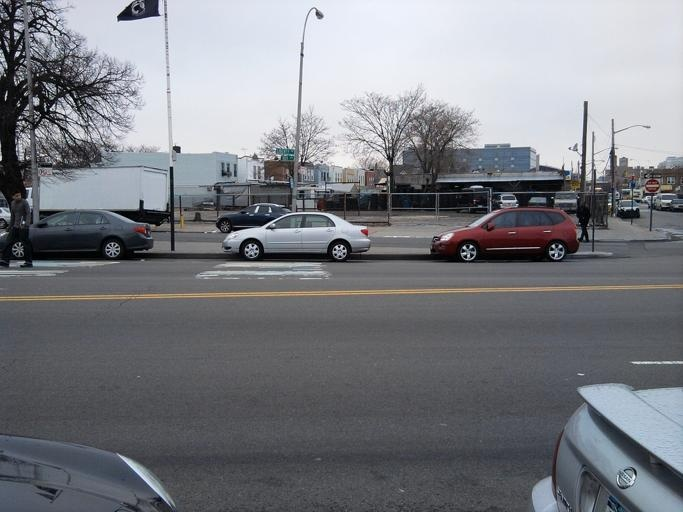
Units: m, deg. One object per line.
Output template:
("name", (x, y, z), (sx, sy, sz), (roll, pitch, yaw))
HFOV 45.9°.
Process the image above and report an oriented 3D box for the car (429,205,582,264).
("car", (4.552, -0.578, 22.795), (3.303, 1.428, 1.747), (2, 0, 1))
